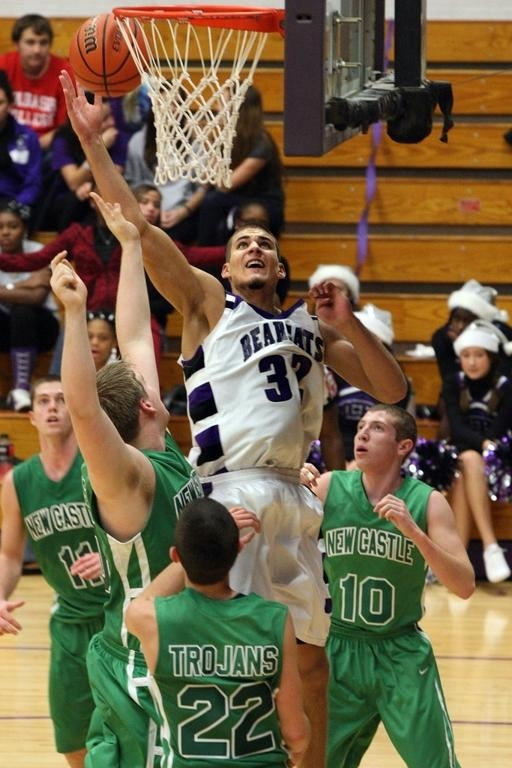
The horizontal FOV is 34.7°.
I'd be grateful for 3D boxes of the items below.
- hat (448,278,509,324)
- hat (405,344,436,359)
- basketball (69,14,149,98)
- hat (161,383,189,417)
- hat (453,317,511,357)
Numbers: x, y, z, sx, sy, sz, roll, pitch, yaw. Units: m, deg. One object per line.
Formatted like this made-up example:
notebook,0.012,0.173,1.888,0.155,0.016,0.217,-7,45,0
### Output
hat,0.718,-0.258,2.627,0.154,0.096,0.113,24,-9,9
hat,1.008,-0.205,5.002,0.203,0.080,0.063,6,-10,16
basketball,-0.493,-1.079,2.663,0.231,0.266,0.204,5,17,20
hat,-0.476,0.091,4.823,0.070,0.185,0.162,7,10,44
hat,0.914,-0.193,3.353,0.192,0.121,0.140,2,-1,19
